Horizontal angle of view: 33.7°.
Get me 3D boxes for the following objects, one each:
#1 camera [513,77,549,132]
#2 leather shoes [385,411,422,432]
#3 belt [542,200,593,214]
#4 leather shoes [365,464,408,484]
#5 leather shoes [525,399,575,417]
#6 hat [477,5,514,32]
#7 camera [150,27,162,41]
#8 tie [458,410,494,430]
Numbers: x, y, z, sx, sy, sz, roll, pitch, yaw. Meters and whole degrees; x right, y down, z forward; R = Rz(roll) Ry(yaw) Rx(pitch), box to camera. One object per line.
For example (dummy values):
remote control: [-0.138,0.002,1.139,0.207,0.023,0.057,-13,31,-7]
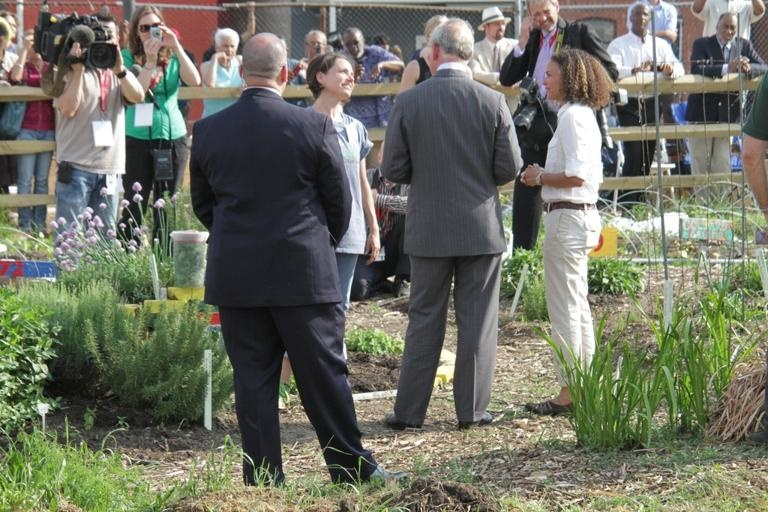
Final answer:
camera: [1.416,-1.485,12.338,0.328,0.476,0.156,-3,-22,0]
leather shoes: [0.167,1.424,10.896,0.345,0.146,0.126,12,13,35]
belt: [1.567,-0.419,10.778,0.422,0.087,0.209,0,-1,9]
leather shoes: [0.026,1.675,9.791,0.183,0.132,0.341,0,-1,27]
leather shoes: [1.403,1.296,10.866,0.385,0.142,0.141,3,-2,13]
hat: [1.263,-2.826,14.967,0.305,0.135,0.339,-16,2,-5]
camera: [-2.349,-2.264,12.930,0.097,0.141,0.078,8,36,17]
tie: [0.789,1.408,10.829,0.345,0.134,0.144,0,-1,-19]
